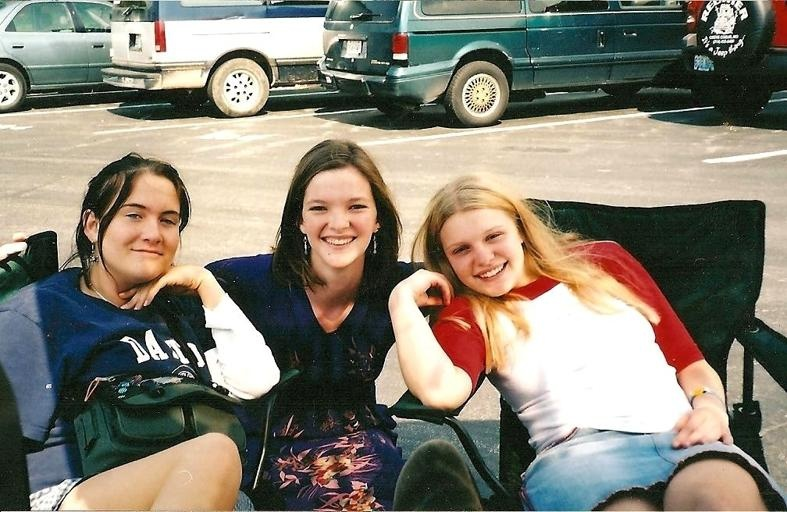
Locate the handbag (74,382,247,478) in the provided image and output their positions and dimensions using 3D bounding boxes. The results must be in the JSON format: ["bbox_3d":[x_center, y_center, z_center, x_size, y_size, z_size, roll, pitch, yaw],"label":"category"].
[{"bbox_3d":[-0.822,0.546,2.308,0.393,0.358,0.159,-7,-28,-15],"label":"handbag"}]

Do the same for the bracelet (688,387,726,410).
[{"bbox_3d":[1.159,0.517,2.515,0.081,0.032,0.083,25,44,12],"label":"bracelet"}]
